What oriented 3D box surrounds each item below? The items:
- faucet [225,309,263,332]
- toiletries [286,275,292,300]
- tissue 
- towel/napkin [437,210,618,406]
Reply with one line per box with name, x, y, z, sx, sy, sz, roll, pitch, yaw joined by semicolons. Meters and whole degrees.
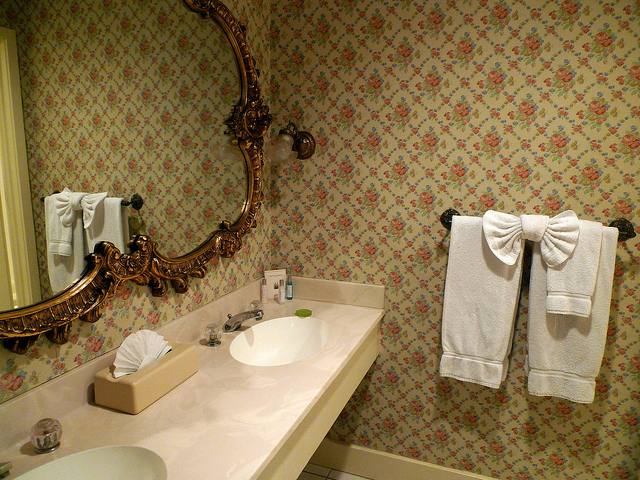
faucet;-0.361;0.377;2.500;0.074;0.096;0.228;12;19;41
toiletries;-0.167;0.268;2.870;0.041;0.135;0.066;-2;11;-3
tissue ;-0.679;0.477;2.001;0.190;0.243;0.375;5;12;19
towel/napkin;0.993;0.297;2.387;0.802;1.012;0.242;7;10;27
